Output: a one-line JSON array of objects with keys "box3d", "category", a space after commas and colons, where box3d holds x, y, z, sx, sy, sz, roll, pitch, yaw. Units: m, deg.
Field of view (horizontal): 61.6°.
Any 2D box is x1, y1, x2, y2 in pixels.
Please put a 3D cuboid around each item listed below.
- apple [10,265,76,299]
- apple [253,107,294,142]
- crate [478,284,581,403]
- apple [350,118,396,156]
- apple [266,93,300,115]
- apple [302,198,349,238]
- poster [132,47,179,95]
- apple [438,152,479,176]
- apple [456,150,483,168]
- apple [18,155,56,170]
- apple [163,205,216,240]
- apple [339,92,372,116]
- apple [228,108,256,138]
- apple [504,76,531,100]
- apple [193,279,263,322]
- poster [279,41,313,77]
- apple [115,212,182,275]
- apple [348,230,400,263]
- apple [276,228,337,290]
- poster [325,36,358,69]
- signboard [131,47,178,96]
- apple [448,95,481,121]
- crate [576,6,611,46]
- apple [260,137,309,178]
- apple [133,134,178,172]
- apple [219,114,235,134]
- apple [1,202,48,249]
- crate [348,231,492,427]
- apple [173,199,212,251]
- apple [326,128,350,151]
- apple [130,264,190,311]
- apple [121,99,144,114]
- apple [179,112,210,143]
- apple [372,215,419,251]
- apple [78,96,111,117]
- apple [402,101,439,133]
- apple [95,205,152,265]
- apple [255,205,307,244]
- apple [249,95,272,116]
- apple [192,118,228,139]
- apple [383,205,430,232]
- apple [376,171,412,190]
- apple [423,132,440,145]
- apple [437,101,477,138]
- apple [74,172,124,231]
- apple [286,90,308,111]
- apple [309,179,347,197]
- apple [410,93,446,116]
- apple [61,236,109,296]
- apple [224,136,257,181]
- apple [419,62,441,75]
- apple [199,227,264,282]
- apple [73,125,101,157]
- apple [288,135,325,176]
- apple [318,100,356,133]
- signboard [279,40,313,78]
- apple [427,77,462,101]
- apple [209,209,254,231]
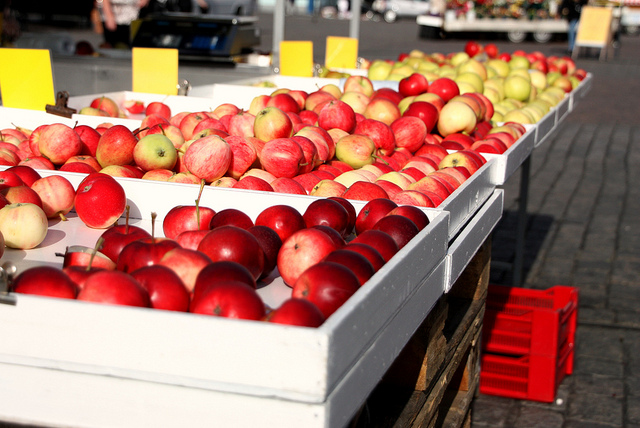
[{"box3d": [-0.660, 0.158, 1.259, 0.093, 0.095, 0.096, 5, 5, -6], "category": "apple"}, {"box3d": [-0.229, -0.437, 2.620, 0.191, 0.155, 0.178, 2, 17, -5], "category": "apple"}, {"box3d": [1.391, 0.746, 3.614, 0.702, 0.479, 0.733, 3, 6, 19], "category": "crate"}, {"box3d": [0.270, -0.389, 2.757, 0.136, 0.141, 0.164, 13, 24, -34], "category": "apple"}, {"box3d": [-0.212, -0.647, 3.227, 0.145, 0.157, 0.179, -1, 8, 20], "category": "apple"}, {"box3d": [0.020, 0.001, 1.783, 0.121, 0.125, 0.124, 6, 24, 2], "category": "apple"}, {"box3d": [-1.430, -1.241, 4.653, 0.462, 0.460, 0.116, 8, 10, 16], "category": "poster"}, {"box3d": [0.675, -0.255, 2.586, 0.132, 0.141, 0.130, 15, 16, 22], "category": "apple"}, {"box3d": [0.748, -0.279, 2.654, 0.086, 0.090, 0.105, 24, -7, 43], "category": "apple"}, {"box3d": [-1.225, -0.223, 2.322, 0.071, 0.073, 0.074, -6, 32, 10], "category": "apple"}, {"box3d": [-0.513, 0.031, 1.898, 0.109, 0.111, 0.110, 11, 4, 34], "category": "apple"}, {"box3d": [0.226, -0.753, 3.511, 0.183, 0.201, 0.192, -12, 22, -37], "category": "apple"}, {"box3d": [-0.412, -0.471, 2.853, 0.132, 0.167, 0.147, 0, -9, 17], "category": "apple"}, {"box3d": [1.585, -1.001, 4.381, 0.174, 0.190, 0.218, -4, -3, -2], "category": "apple"}, {"box3d": [-0.212, 0.200, 1.241, 0.103, 0.114, 0.106, 13, 23, 18], "category": "apple"}, {"box3d": [-0.253, -1.673, 5.768, 0.357, 0.406, 0.243, 3, 15, 5], "category": "poster"}, {"box3d": [-0.497, 0.075, 1.562, 0.166, 0.234, 0.164, 7, -1, -40], "category": "apple"}, {"box3d": [0.175, 0.093, 1.597, 0.089, 0.109, 0.089, -3, -11, 41], "category": "apple"}, {"box3d": [-0.050, 0.143, 1.659, 0.180, 0.202, 0.181, 15, -9, -16], "category": "apple"}, {"box3d": [0.257, -2.007, 6.676, 0.409, 0.358, 0.403, 5, 17, 8], "category": "poster"}, {"box3d": [-1.423, -1.241, 4.635, 0.493, 0.500, 0.116, 9, 11, 18], "category": "signboard"}, {"box3d": [0.920, -0.697, 3.434, 0.142, 0.134, 0.181, 45, 9, -19], "category": "apple"}, {"box3d": [8.121, -5.561, 15.841, 0.855, 1.105, 1.245, 13, 19, 30], "category": "crate"}, {"box3d": [-0.158, -0.246, 2.369, 0.221, 0.159, 0.102, 2, 17, -5], "category": "apple"}, {"box3d": [-0.717, -0.251, 2.376, 0.161, 0.159, 0.168, 4, -26, 48], "category": "apple"}, {"box3d": [-0.514, -0.495, 2.927, 0.091, 0.100, 0.113, -3, 0, -8], "category": "apple"}, {"box3d": [-0.953, 0.037, 1.767, 0.133, 0.145, 0.137, -2, -2, -10], "category": "apple"}, {"box3d": [0.430, 0.540, 2.015, 0.170, 0.600, 0.864, 4, 22, 23], "category": "crate"}, {"box3d": [-0.405, 0.068, 1.699, 0.074, 0.114, 0.077, 8, -2, 7], "category": "apple"}, {"box3d": [0.099, -0.404, 2.804, 0.093, 0.100, 0.117, -4, 37, -2], "category": "apple"}, {"box3d": [-0.402, 0.183, 1.373, 0.102, 0.121, 0.108, -15, 11, -31], "category": "apple"}, {"box3d": [-1.479, -0.867, 4.251, 0.121, 0.085, 0.126, 4, 13, -10], "category": "apple"}, {"box3d": [-0.644, -0.469, 2.948, 0.103, 0.123, 0.103, -33, 12, -16], "category": "apple"}, {"box3d": [0.245, 0.048, 1.713, 0.117, 0.144, 0.122, -11, 27, -13], "category": "apple"}, {"box3d": [-1.533, -0.707, 3.677, 0.133, 0.186, 0.133, 3, 20, -47], "category": "apple"}, {"box3d": [0.623, -0.603, 3.281, 0.175, 0.189, 0.182, 6, -4, 7], "category": "apple"}, {"box3d": [-0.591, 0.066, 1.665, 0.157, 0.217, 0.155, -1, 20, -12], "category": "apple"}, {"box3d": [-0.138, 0.058, 1.793, 0.135, 0.163, 0.143, -5, -30, 18], "category": "apple"}, {"box3d": [-0.365, -0.663, 3.383, 0.142, 0.158, 0.182, 0, 2, 1], "category": "apple"}, {"box3d": [-0.575, -0.461, 2.761, 0.158, 0.171, 0.193, -1, 11, -1], "category": "apple"}, {"box3d": [0.281, 0.013, 1.766, 0.108, 0.100, 0.096, 11, -5, 19], "category": "apple"}, {"box3d": [0.330, -0.152, 2.306, 0.104, 0.095, 0.090, 5, -4, -15], "category": "apple"}, {"box3d": [0.649, -0.429, 3.103, 0.077, 0.060, 0.103, 6, 5, -2], "category": "apple"}, {"box3d": [0.846, -0.573, 3.328, 0.206, 0.223, 0.198, -6, 37, 1], "category": "apple"}, {"box3d": [-0.818, -0.048, 1.936, 0.178, 0.185, 0.166, 8, -5, -40], "category": "apple"}, {"box3d": [-0.153, -0.774, 3.566, 0.131, 0.146, 0.143, -10, 19, -5], "category": "apple"}, {"box3d": [0.037, -0.101, 2.179, 0.105, 0.095, 0.090, 1, 1, -7], "category": "apple"}, {"box3d": [0.694, -0.738, 3.457, 0.160, 0.207, 0.166, 14, 27, 12], "category": "apple"}, {"box3d": [-0.602, 0.150, 1.404, 0.124, 0.177, 0.126, 3, -18, -38], "category": "apple"}, {"box3d": [-0.354, -0.240, 2.336, 0.144, 0.120, 0.122, 34, -22, 7], "category": "apple"}, {"box3d": [1.013, -1.331, 4.897, 0.157, 0.124, 0.211, 6, 7, 1], "category": "apple"}, {"box3d": [-0.249, 0.107, 1.521, 0.169, 0.153, 0.147, 7, -17, -17], "category": "apple"}, {"box3d": [-1.091, -0.334, 2.491, 0.112, 0.119, 0.142, 5, 45, -14], "category": "apple"}, {"box3d": [-0.057, -0.283, 2.452, 0.186, 0.168, 0.162, 0, 27, 3], "category": "apple"}, {"box3d": [0.098, -0.547, 2.970, 0.173, 0.218, 0.174, -8, 14, 1], "category": "apple"}, {"box3d": [-0.256, -1.671, 5.876, 0.397, 0.422, 0.402, 0, 0, 9], "category": "signboard"}, {"box3d": [0.845, -0.843, 3.673, 0.171, 0.192, 0.172, -13, 12, -26], "category": "apple"}, {"box3d": [-0.279, -0.008, 1.727, 0.099, 0.090, 0.085, -3, 16, -29], "category": "apple"}]
